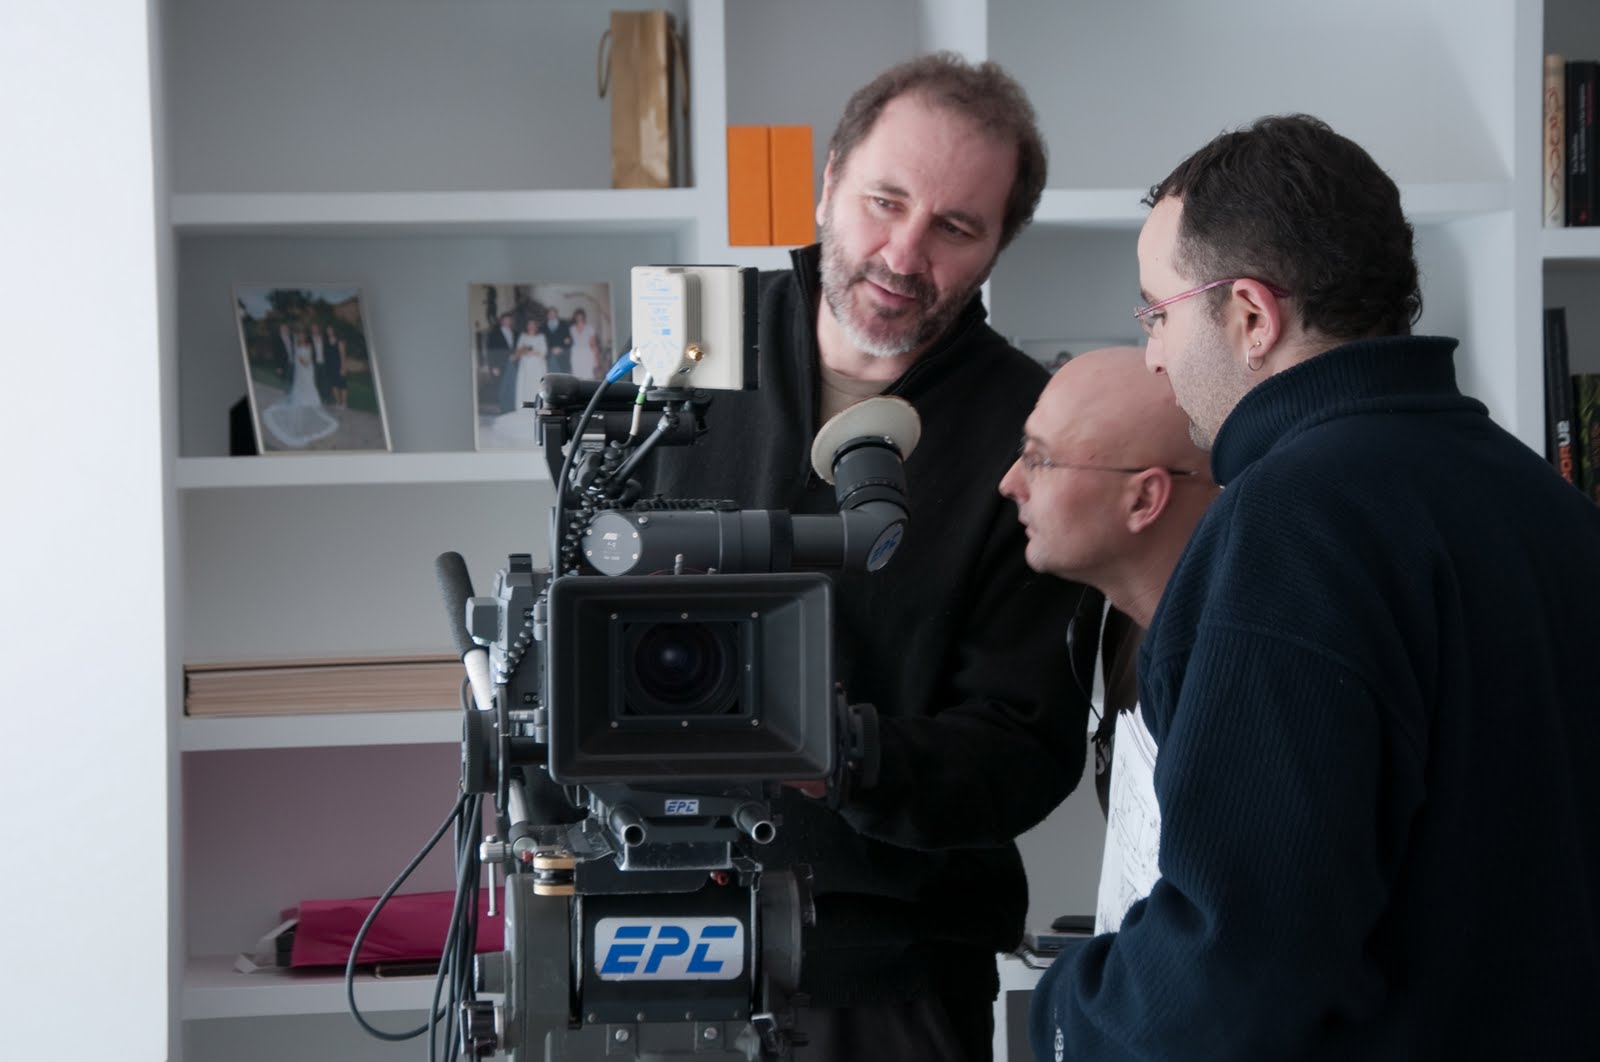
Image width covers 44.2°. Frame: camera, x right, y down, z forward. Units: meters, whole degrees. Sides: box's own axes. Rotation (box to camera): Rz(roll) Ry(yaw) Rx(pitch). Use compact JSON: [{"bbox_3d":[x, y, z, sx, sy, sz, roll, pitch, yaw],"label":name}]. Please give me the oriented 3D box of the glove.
[{"bbox_3d":[0.042,0.288,2.629,0.063,0.178,0.120,-5,3,-41],"label":"glove"}]
